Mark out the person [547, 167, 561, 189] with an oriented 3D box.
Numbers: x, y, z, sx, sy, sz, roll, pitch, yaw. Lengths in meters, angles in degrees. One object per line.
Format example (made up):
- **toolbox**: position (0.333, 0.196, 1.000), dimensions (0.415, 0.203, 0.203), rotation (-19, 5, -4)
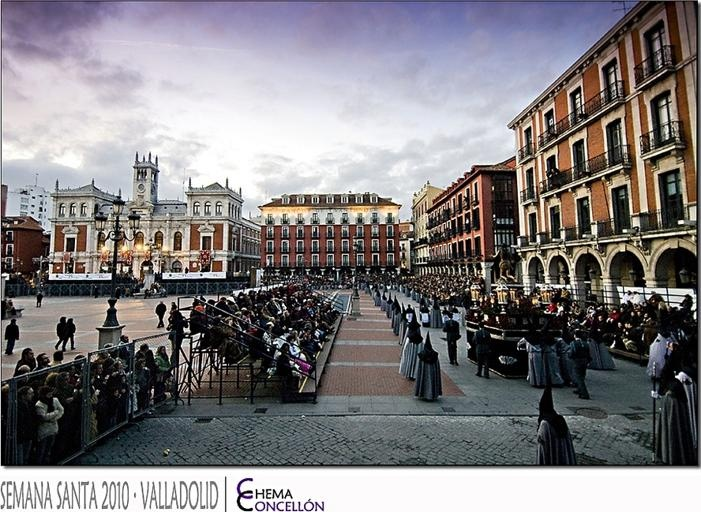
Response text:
- **person**: position (12.636, -4.848, 30.597), dimensions (0.475, 1.397, 1.151), rotation (0, 12, 1)
